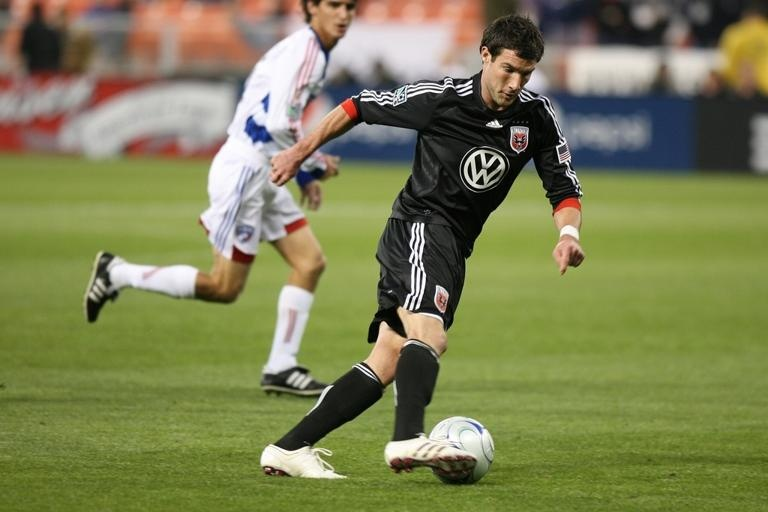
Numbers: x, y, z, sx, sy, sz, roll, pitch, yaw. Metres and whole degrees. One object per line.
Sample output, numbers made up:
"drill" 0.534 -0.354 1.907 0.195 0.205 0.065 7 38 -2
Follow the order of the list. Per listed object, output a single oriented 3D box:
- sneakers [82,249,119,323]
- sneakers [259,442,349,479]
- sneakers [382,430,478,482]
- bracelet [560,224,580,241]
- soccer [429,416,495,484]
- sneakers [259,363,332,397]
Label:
"sneakers" -2.123 0.217 7.572 0.262 0.598 0.204 12 17 6
"sneakers" -0.524 1.257 6.222 0.592 0.239 0.208 4 -9 -6
"sneakers" 0.264 1.197 5.881 0.442 0.248 0.247 6 39 -10
"bracelet" 1.199 -0.154 6.452 0.112 0.086 0.106 -3 5 -30
"soccer" 0.463 1.186 6.239 0.385 0.389 0.364 2 -25 -4
"sneakers" -0.707 0.982 7.958 0.655 0.280 0.222 2 1 -6
